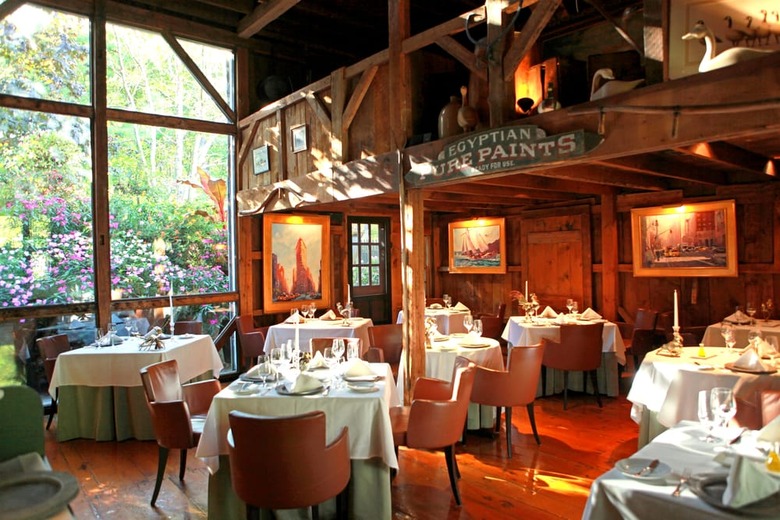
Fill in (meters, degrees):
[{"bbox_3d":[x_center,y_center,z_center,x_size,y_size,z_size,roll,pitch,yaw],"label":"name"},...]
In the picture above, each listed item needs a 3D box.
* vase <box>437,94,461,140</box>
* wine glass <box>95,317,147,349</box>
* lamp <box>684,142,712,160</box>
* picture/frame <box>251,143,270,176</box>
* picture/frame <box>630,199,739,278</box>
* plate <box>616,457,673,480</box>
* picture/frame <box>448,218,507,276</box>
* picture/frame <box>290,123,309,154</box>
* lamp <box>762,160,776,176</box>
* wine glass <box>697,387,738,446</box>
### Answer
[{"bbox_3d":[0.707,-1.717,7.463,0.263,0.535,0.318,-1,-2,6],"label":"vase"},{"bbox_3d":[-3.731,0.998,8.737,0.339,0.184,0.491,0,2,26],"label":"wine glass"},{"bbox_3d":[3.382,-1.225,6.903,0.615,0.171,0.075,1,-2,-44],"label":"lamp"},{"bbox_3d":[-2.034,-1.591,9.927,0.073,0.548,0.549,3,-2,-41],"label":"picture/frame"},{"bbox_3d":[4.508,-0.324,9.485,1.196,0.980,0.103,-1,-1,43],"label":"picture/frame"},{"bbox_3d":[1.978,1.623,4.920,0.404,0.123,0.234,-2,-2,22],"label":"plate"},{"bbox_3d":[1.734,-0.266,12.191,1.078,0.937,0.081,2,6,42],"label":"picture/frame"},{"bbox_3d":[-1.312,-1.771,9.154,0.073,0.592,0.488,-2,0,-33],"label":"picture/frame"},{"bbox_3d":[4.997,-1.225,8.273,0.087,0.199,0.571,-2,-2,38],"label":"lamp"},{"bbox_3d":[2.664,1.262,5.146,0.248,0.472,0.348,-2,-2,25],"label":"wine glass"}]
